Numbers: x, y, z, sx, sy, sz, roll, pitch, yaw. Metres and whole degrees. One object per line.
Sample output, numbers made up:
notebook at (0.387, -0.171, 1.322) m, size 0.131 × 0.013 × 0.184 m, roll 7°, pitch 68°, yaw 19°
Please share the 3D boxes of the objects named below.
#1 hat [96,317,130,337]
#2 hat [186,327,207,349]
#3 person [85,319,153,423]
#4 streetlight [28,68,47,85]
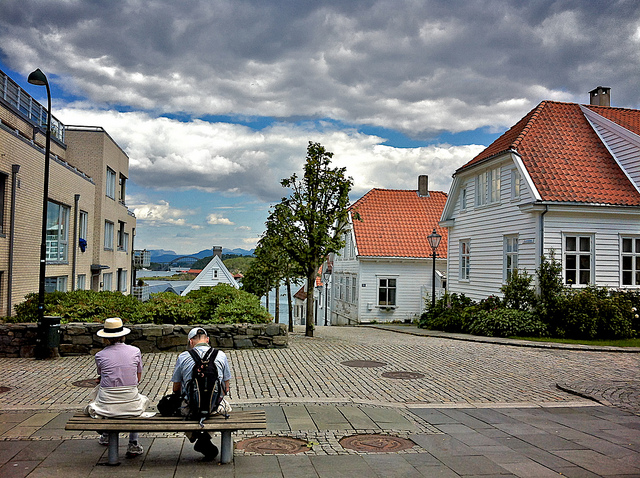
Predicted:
hat at (-3.384, 1.438, 8.675) m, size 0.366 × 0.123 × 0.370 m, roll 0°, pitch -2°, yaw -44°
hat at (-2.121, 1.634, 9.095) m, size 0.250 × 0.330 × 0.579 m, roll 1°, pitch 0°, yaw -14°
person at (-3.287, 2.047, 8.617) m, size 0.927 × 1.556 × 0.495 m, roll 1°, pitch 1°, yaw -21°
streetlight at (-8.043, -4.600, 15.155) m, size 0.470 × 0.438 × 0.307 m, roll 1°, pitch 1°, yaw -28°
